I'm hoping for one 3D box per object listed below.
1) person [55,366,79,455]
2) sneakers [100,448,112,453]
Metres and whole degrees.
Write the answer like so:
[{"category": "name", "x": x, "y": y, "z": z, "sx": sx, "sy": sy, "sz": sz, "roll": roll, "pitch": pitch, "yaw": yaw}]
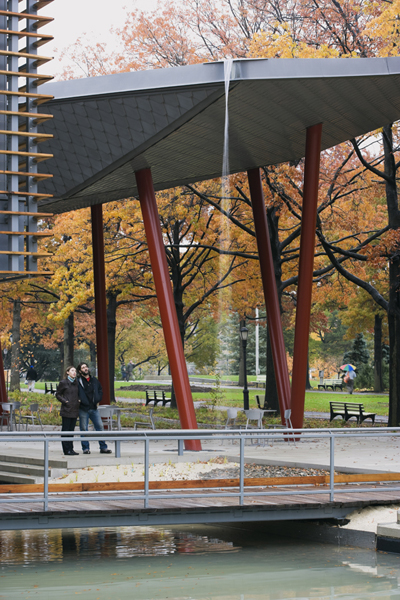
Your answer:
[{"category": "person", "x": -2.079, "y": 1.816, "z": 18.093, "sx": 0.361, "sy": 1.422, "sz": 0.874, "roll": -3, "pitch": 9, "yaw": -7}, {"category": "sneakers", "x": -1.525, "y": 2.454, "z": 18.538, "sx": 0.184, "sy": 0.082, "sz": 0.067, "roll": -6, "pitch": -7, "yaw": 38}]
